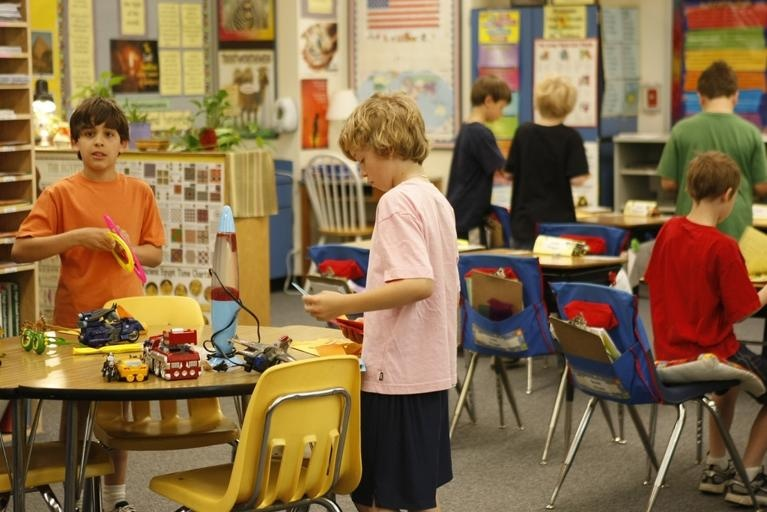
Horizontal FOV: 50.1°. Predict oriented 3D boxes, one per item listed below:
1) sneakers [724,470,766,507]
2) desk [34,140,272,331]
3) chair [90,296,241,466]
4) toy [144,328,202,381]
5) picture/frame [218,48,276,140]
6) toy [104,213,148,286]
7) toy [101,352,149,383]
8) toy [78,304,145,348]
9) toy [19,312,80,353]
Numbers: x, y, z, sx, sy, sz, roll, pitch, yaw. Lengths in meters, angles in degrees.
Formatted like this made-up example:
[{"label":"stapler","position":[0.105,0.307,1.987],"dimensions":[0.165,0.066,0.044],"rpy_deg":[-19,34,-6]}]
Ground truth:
[{"label":"sneakers","position":[1.806,1.140,4.040],"dimensions":[0.274,0.124,0.096],"rpy_deg":[-4,4,-40]},{"label":"desk","position":[-1.277,-0.193,5.962],"dimensions":[0.564,1.131,1.285],"rpy_deg":[1,8,-36]},{"label":"chair","position":[-1.011,0.550,3.814],"dimensions":[0.691,0.979,0.686],"rpy_deg":[2,-9,-16]},{"label":"toy","position":[-0.800,0.342,3.033],"dimensions":[0.129,0.176,0.297],"rpy_deg":[-6,9,-34]},{"label":"picture/frame","position":[-1.372,-1.665,8.224],"dimensions":[0.625,0.795,0.169],"rpy_deg":[6,15,25]},{"label":"toy","position":[-1.094,-0.033,3.454],"dimensions":[0.132,0.287,0.376],"rpy_deg":[-5,14,-19]},{"label":"toy","position":[-0.929,0.395,2.945],"dimensions":[0.163,0.069,0.172],"rpy_deg":[-4,14,-17]},{"label":"toy","position":[-1.098,0.284,3.301],"dimensions":[0.102,0.155,0.268],"rpy_deg":[-1,4,43]},{"label":"toy","position":[-1.352,0.308,3.332],"dimensions":[0.147,0.084,0.202],"rpy_deg":[9,5,40]}]
